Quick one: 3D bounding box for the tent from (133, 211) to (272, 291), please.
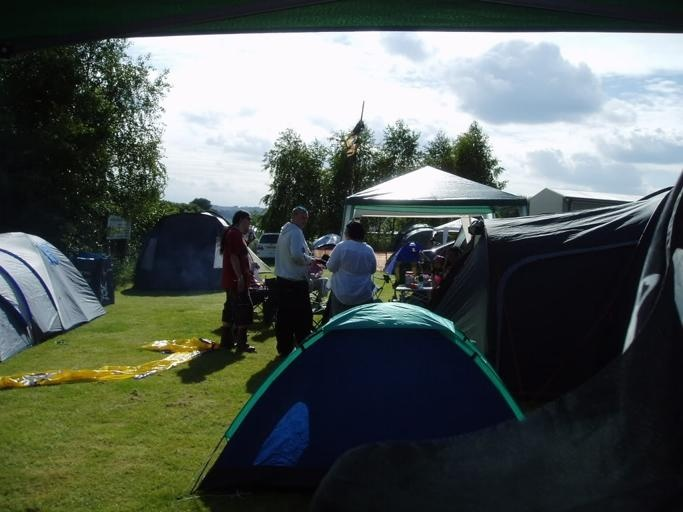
[{"bbox_3d":[-4.615,-0.038,15.708,2.790,1.773,2.844,0,-2,-6],"label":"tent"}]

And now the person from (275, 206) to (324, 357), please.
[{"bbox_3d":[-0.639,0.344,7.594,0.860,1.859,0.670,0,0,-18],"label":"person"}]

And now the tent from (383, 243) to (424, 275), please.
[{"bbox_3d":[1.590,0.091,12.988,0.785,0.413,0.791,-6,7,-20],"label":"tent"}]

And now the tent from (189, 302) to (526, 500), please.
[{"bbox_3d":[0.149,1.117,4.096,2.347,0.928,2.506,5,10,11],"label":"tent"}]

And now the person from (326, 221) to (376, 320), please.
[{"bbox_3d":[0.177,0.178,7.034,0.649,1.285,0.692,3,10,6],"label":"person"}]

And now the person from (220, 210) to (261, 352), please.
[{"bbox_3d":[-1.527,0.353,7.936,0.632,2.017,0.793,0,0,-20],"label":"person"}]

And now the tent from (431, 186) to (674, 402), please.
[{"bbox_3d":[2.382,0.508,6.616,2.692,2.095,3.081,6,10,1],"label":"tent"}]
